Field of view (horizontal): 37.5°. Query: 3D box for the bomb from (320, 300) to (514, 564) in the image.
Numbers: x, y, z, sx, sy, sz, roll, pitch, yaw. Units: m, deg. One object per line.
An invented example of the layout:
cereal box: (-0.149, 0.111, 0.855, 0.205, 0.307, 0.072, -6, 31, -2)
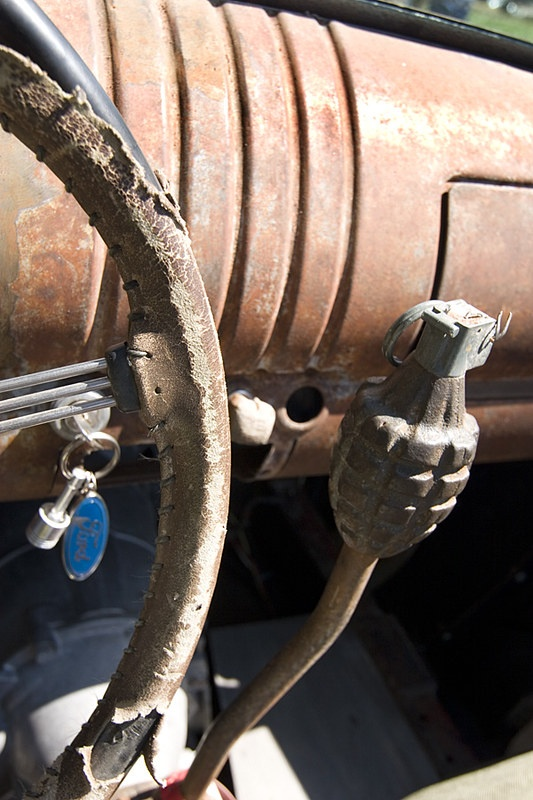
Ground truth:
bomb: (0.133, 0.036, 0.731, 0.129, 0.270, 0.090, 18, 33, 5)

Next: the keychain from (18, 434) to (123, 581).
keychain: (-0.171, 0.113, 0.781, 0.077, 0.070, 0.182, 20, 64, -19)
